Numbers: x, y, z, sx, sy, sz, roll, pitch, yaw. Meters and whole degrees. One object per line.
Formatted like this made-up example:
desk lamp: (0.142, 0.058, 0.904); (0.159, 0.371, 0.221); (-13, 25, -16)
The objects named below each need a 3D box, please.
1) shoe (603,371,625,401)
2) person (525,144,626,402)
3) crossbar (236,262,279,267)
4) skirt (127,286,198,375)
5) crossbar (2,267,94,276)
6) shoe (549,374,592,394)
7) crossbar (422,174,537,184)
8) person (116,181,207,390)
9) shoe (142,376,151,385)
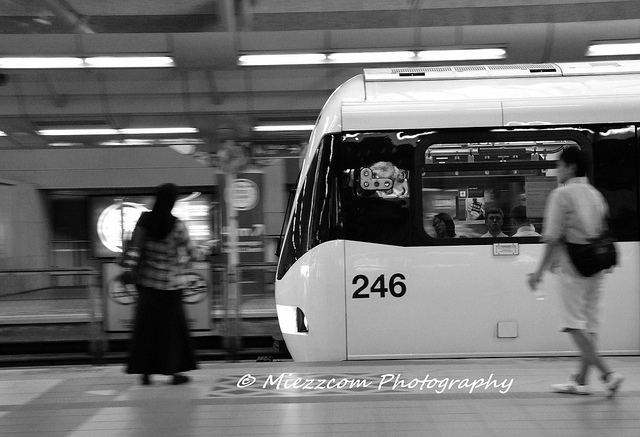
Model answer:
shoe: (3.273, 1.896, 9.764); (0.161, 0.393, 0.191); (1, 40, -5)
person: (2.876, 0.605, 9.791); (0.836, 2.881, 0.282); (-3, 0, 14)
crossbar: (-1.020, 0.724, 13.626); (0.600, 0.068, 0.071); (-2, 0, 2)
skirt: (-1.945, 1.350, 10.527); (0.790, 1.065, 0.202); (-3, 0, 1)
crossbar: (-4.297, 0.844, 13.750); (1.415, 0.127, 0.078); (-2, 0, 1)
shoe: (2.845, 1.927, 10.003); (0.565, 0.208, 0.162); (1, -9, 15)
crossbar: (2.008, -0.502, 11.106); (1.433, 0.116, 0.088); (-2, 0, -2)
person: (-1.945, 0.803, 10.493); (0.943, 2.486, 0.359); (-3, 0, -7)
shoe: (-2.100, 1.959, 10.500); (0.096, 0.097, 0.051); (-2, 0, -12)
